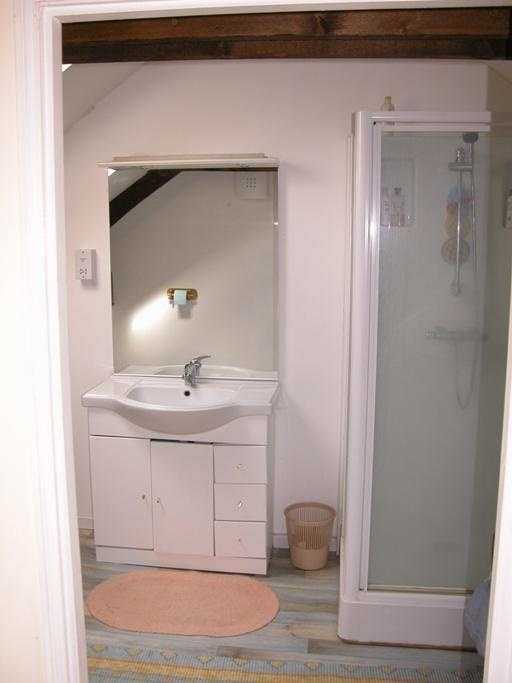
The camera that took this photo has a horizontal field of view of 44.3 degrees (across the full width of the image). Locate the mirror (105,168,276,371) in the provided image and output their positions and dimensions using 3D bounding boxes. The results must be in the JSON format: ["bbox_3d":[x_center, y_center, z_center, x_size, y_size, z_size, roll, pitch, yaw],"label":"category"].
[{"bbox_3d":[-0.273,-0.366,2.897,0.938,1.108,0.045,1,5,5],"label":"mirror"}]

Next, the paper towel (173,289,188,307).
[{"bbox_3d":[-0.340,-0.207,2.929,0.081,0.081,0.062,2,22,0],"label":"paper towel"}]

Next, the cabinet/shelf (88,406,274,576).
[{"bbox_3d":[-0.299,0.606,2.642,0.727,0.615,0.285,1,6,9],"label":"cabinet/shelf"}]

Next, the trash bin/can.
[{"bbox_3d":[0.245,0.869,2.836,0.232,0.241,0.231,0,10,3],"label":"trash bin/can"}]

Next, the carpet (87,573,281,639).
[{"bbox_3d":[-0.292,1.025,2.469,0.757,0.013,0.394,1,10,6],"label":"carpet"}]

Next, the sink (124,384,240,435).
[{"bbox_3d":[-0.316,0.288,2.677,0.472,0.149,0.481,-2,10,-6],"label":"sink"}]
